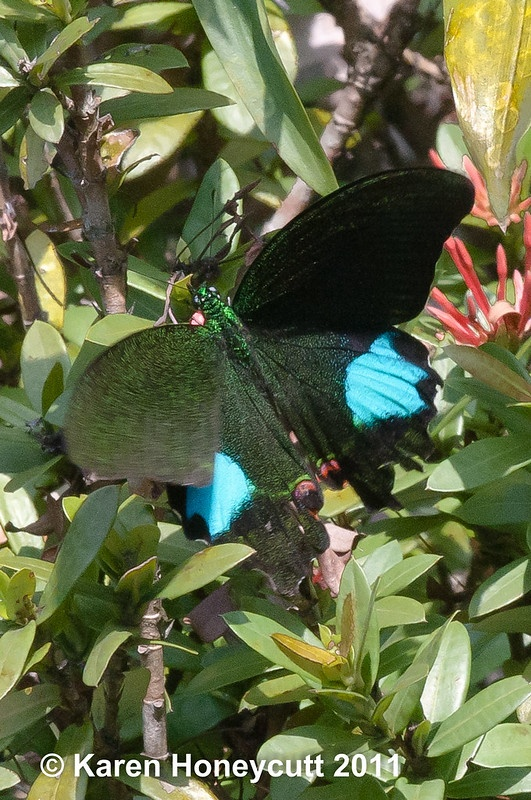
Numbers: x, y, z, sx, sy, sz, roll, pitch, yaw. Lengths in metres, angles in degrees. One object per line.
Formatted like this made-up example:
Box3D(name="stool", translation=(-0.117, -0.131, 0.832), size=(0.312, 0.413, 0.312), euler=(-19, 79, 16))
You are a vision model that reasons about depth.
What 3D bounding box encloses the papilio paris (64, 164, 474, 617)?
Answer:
Box3D(name="papilio paris", translation=(0.028, -0.015, 0.693), size=(0.231, 0.326, 0.358), euler=(6, 38, 7))
